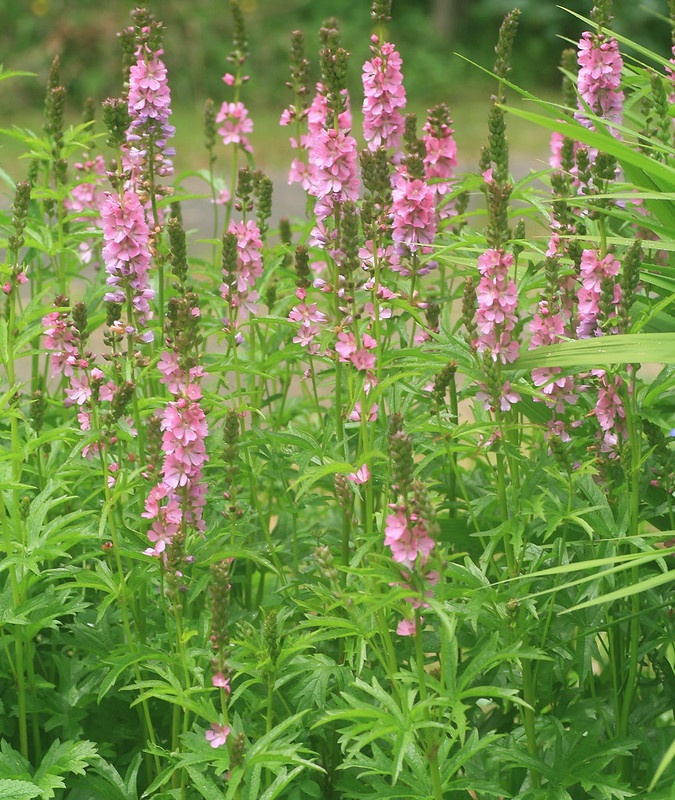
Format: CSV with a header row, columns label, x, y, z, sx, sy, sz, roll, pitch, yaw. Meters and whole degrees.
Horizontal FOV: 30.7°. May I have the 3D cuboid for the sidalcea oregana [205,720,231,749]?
label,x,y,z,sx,sy,sz,roll,pitch,yaw
sidalcea oregana,-0.273,0.773,2.824,0.073,0.063,0.028,-28,-44,31
